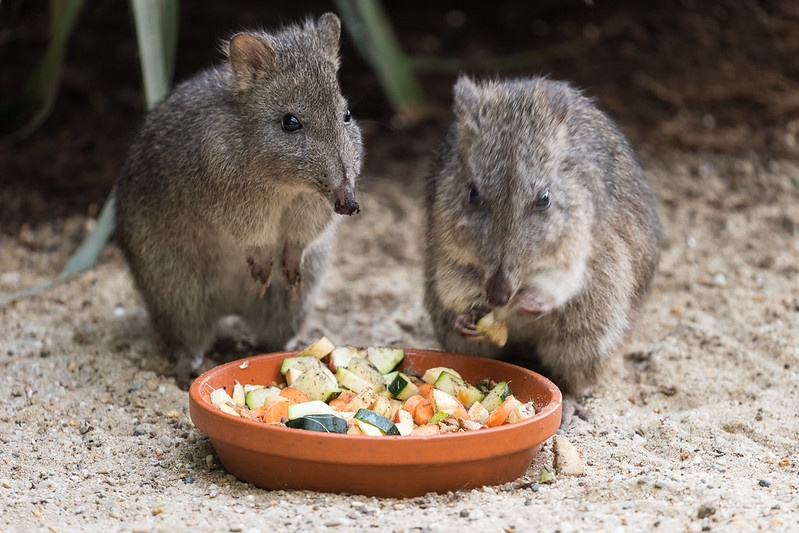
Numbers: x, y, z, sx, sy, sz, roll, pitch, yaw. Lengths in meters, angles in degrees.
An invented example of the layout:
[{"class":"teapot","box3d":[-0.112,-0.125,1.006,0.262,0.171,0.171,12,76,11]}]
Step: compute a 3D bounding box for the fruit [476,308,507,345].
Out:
[{"class":"fruit","box3d":[0.730,0.499,6.762,0.268,0.204,0.106,40,1,-26]}]
